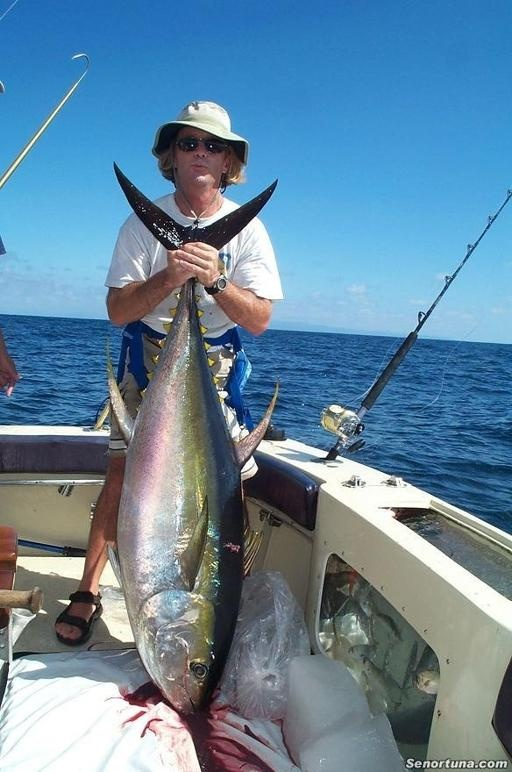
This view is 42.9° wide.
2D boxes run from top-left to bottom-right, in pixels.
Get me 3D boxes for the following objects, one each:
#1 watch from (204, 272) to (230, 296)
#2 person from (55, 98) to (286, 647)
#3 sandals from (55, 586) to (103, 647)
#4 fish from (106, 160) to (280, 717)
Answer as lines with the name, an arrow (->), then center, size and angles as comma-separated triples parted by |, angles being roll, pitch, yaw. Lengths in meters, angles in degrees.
watch -> -0.107, -0.285, 1.853 | 0.042, 0.068, 0.065 | 46, -30, -25
person -> -0.265, -0.158, 2.015 | 0.609, 1.997, 0.592 | 1, 3, -11
sandals -> -0.593, 0.779, 2.254 | 0.159, 0.124, 0.370 | -3, 13, -18
fish -> -0.177, 0.129, 1.784 | 0.452, 1.416, 0.416 | 7, 4, -3
